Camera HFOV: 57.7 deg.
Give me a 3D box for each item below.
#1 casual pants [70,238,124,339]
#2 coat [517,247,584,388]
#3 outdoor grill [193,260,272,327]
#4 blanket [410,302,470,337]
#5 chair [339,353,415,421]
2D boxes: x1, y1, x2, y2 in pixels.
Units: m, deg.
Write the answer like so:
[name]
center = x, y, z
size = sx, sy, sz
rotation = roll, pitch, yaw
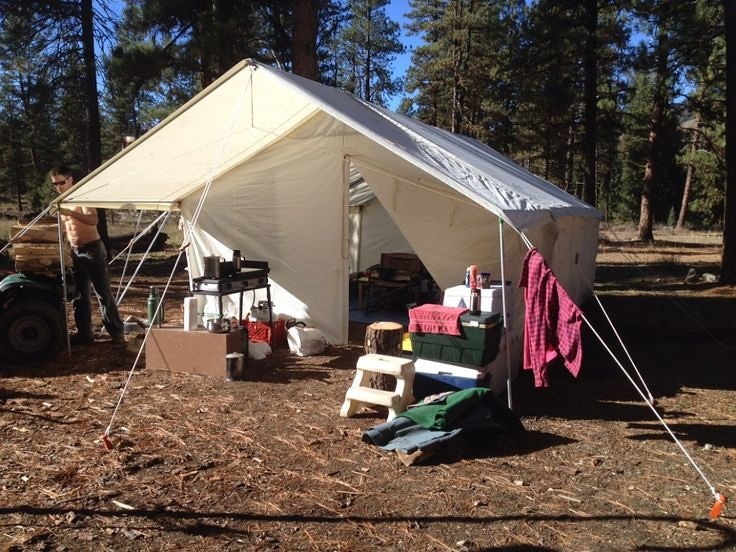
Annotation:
[casual pants]
center = -3.372, 0.176, 8.363
size = 0.595, 1.241, 0.419
rotation = 0, 3, -17
[coat]
center = 1.751, 0.428, 6.466
size = 0.616, 1.366, 0.314
rotation = 3, 4, 27
[outdoor grill]
center = -1.643, 0.271, 8.187
size = 0.448, 0.716, 1.107
rotation = 2, 5, 22
[blanket]
center = 0.723, 0.472, 6.904
size = 0.562, 0.266, 0.234
rotation = 3, 4, 25
[chair]
center = 0.134, 1.102, 6.782
size = 0.584, 0.522, 0.630
rotation = 6, 11, 27
